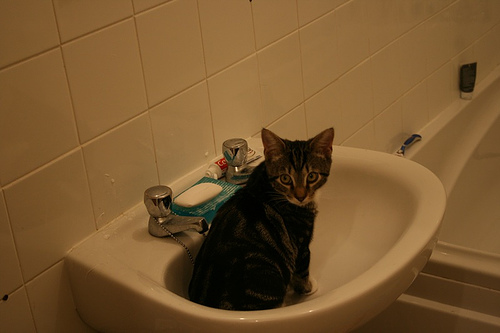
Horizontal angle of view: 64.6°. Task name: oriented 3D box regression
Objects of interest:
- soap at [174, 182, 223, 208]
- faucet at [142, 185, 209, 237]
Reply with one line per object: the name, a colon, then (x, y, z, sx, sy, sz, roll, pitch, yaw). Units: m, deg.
soap: (-0.142, 0.063, 1.131, 0.150, 0.052, 0.109, 2, 28, 9)
faucet: (-0.186, 0.112, 0.983, 0.159, 0.112, 0.083, 5, 22, 20)
